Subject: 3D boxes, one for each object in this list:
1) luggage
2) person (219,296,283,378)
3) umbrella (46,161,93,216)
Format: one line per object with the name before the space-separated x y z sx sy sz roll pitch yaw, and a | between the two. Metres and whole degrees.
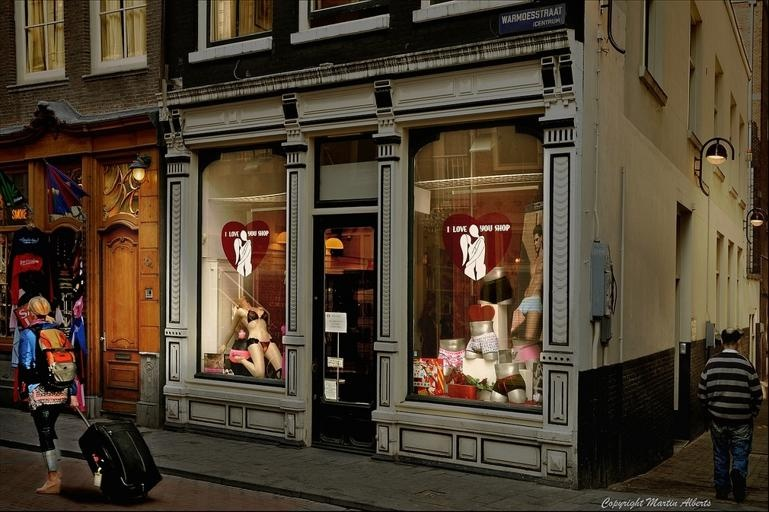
luggage | -4.261 3.453 16.912 0.973 1.438 0.787 -6 -35 -40
person | -2.528 1.589 20.144 0.876 1.583 0.665 -22 -6 -28
umbrella | -6.546 -1.395 21.503 0.818 1.192 0.643 -4 14 -14
